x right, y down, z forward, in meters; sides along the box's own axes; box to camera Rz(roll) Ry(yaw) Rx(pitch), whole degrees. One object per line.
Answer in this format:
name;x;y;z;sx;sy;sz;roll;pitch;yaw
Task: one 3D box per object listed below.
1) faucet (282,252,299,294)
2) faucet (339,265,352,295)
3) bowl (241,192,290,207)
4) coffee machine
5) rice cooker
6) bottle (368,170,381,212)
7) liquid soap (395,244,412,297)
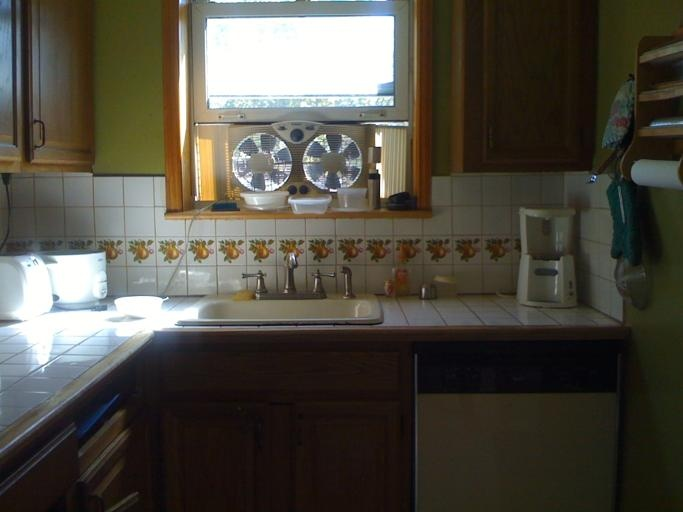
faucet;-0.241;0.079;2.854;0.073;0.180;0.133;-3;6;-4
faucet;0.021;0.114;2.852;0.058;0.138;0.149;-3;7;0
bowl;-0.361;-0.259;2.853;0.210;0.075;0.099;-4;7;-9
coffee machine;0.898;0.028;2.720;0.214;0.462;0.213;3;11;9
rice cooker;-1.187;0.078;2.729;0.208;0.257;0.231;4;11;0
bottle;0.149;-0.301;2.850;0.049;0.172;0.033;-3;6;0
liquid soap;0.285;0.065;2.890;0.062;0.235;0.079;-1;6;15
